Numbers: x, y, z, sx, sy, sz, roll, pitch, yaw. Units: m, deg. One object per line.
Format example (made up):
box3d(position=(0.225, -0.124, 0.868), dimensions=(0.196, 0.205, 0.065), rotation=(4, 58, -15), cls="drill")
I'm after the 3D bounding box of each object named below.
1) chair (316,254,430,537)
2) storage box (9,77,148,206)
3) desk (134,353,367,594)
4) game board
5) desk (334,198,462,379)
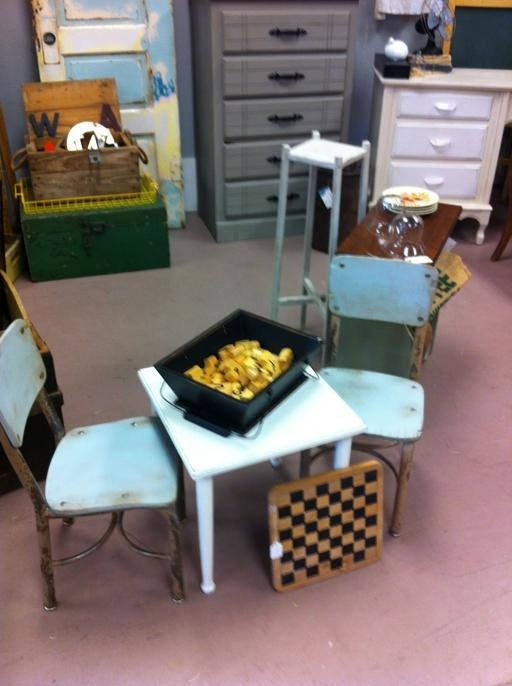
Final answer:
box3d(position=(0.284, 0.181, 1.632), dimensions=(0.366, 0.813, 0.429), rotation=(5, 29, 6), cls="chair")
box3d(position=(-1.012, -1.180, 3.052), dimensions=(0.706, 0.565, 0.450), rotation=(-9, 35, -16), cls="storage box")
box3d(position=(-0.011, 0.361, 1.427), dimensions=(0.442, 0.611, 0.426), rotation=(-15, 35, -22), cls="desk")
box3d(position=(0.194, 0.503, 1.409), dimensions=(0.296, 0.331, 0.042), rotation=(-11, 25, -18), cls="game board")
box3d(position=(0.475, -0.165, 2.202), dimensions=(0.454, 0.670, 0.636), rotation=(9, 32, 13), cls="desk")
